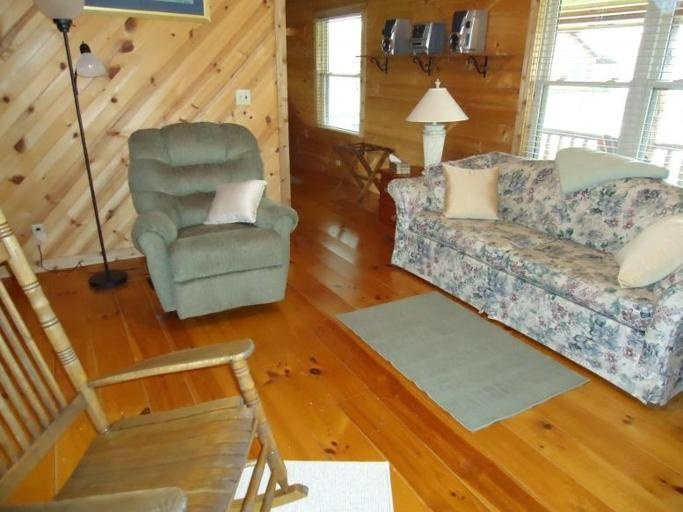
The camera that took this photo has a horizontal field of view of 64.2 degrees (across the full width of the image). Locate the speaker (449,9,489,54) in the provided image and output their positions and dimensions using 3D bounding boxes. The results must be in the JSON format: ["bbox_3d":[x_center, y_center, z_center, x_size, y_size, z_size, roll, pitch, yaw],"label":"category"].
[{"bbox_3d":[1.147,-1.992,4.865,0.209,0.309,0.348,-6,21,-25],"label":"speaker"}]

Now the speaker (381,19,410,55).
[{"bbox_3d":[0.584,-2.246,5.625,0.363,0.285,0.300,2,22,8],"label":"speaker"}]

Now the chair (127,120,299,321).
[{"bbox_3d":[-0.870,-0.315,3.749,1.158,0.928,1.110,-4,33,-13],"label":"chair"}]

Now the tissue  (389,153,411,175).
[{"bbox_3d":[0.529,-0.845,5.032,0.150,0.100,0.251,-9,32,-22],"label":"tissue "}]

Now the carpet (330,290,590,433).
[{"bbox_3d":[0.680,0.572,3.297,0.840,0.240,1.189,-12,19,-30],"label":"carpet"}]

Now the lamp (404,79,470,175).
[{"bbox_3d":[0.791,-1.077,4.676,0.649,0.692,0.537,-12,22,-26],"label":"lamp"}]
